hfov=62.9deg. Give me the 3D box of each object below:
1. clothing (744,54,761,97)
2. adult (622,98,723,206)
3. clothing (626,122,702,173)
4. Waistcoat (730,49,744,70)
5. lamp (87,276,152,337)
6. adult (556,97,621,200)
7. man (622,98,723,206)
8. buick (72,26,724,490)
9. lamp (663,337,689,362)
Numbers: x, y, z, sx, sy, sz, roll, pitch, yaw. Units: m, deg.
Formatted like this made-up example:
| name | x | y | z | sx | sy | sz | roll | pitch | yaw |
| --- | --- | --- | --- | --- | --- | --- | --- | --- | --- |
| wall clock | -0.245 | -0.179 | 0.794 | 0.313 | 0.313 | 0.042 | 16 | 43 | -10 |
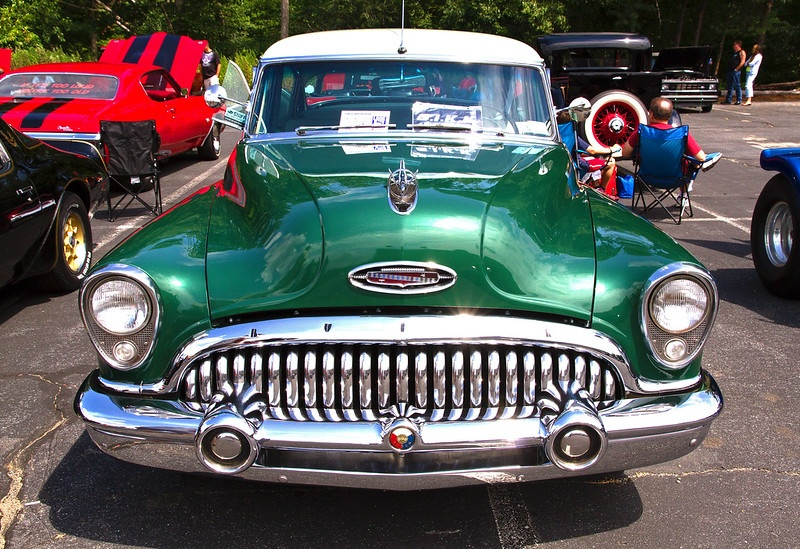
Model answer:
| name | x | y | z | sx | sy | sz | roll | pitch | yaw |
| --- | --- | --- | --- | --- | --- | --- | --- | --- | --- |
| clothing | 11.802 | -6.688 | 22.065 | 0.352 | 1.460 | 0.736 | 11 | 25 | 25 |
| adult | 3.624 | -1.600 | 8.629 | 1.008 | 1.724 | 1.370 | 17 | 33 | 40 |
| clothing | 3.265 | -1.679 | 8.196 | 0.963 | 0.397 | 0.556 | 2 | 5 | 5 |
| Waistcoat | 11.329 | -7.206 | 21.942 | 0.357 | 0.669 | 0.976 | 13 | 27 | 28 |
| lamp | -1.408 | 0.136 | 3.445 | 0.290 | 0.316 | 0.293 | 2 | 9 | 5 |
| adult | 2.394 | -1.519 | 8.210 | 0.720 | 1.263 | 0.591 | -9 | 18 | -4 |
| man | 3.621 | -1.564 | 8.617 | 1.014 | 1.727 | 1.340 | 15 | 30 | 40 |
| buick | 0.027 | -0.403 | 4.171 | 3.397 | 2.009 | 2.927 | 1 | 24 | 1 |
| lamp | 1.413 | 0.394 | 3.375 | 0.111 | 0.119 | 0.031 | 12 | -3 | -9 |
